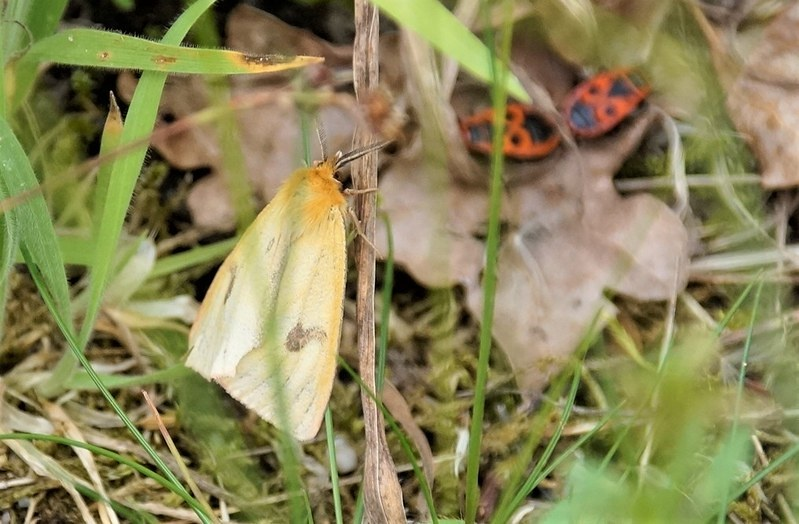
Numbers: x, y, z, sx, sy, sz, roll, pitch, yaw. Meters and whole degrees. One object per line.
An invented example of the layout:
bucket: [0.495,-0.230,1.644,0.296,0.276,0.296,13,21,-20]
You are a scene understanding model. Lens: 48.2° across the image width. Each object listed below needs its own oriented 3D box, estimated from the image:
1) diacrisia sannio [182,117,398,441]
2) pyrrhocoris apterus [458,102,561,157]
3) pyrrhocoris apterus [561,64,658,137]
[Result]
diacrisia sannio: [-0.321,0.045,2.618,0.665,0.261,0.902,1,84,42]
pyrrhocoris apterus: [0.327,-0.402,2.654,0.297,0.117,0.148,0,47,4]
pyrrhocoris apterus: [0.600,-0.474,2.683,0.289,0.071,0.180,-39,73,-13]
